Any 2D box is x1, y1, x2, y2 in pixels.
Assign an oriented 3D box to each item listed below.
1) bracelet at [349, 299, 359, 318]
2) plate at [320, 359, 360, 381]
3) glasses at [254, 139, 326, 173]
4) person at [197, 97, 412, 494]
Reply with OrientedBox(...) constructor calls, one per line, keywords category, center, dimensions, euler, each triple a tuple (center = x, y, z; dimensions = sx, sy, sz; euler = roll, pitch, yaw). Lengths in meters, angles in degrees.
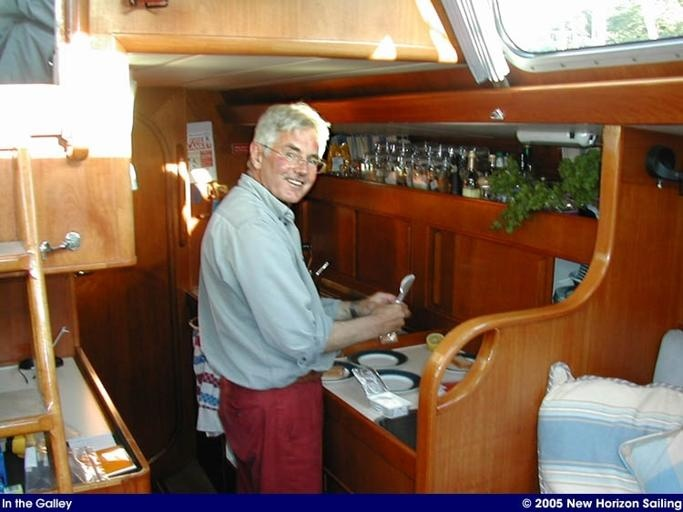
OrientedBox(category="bracelet", center=(0.059, 0.251, 2.361), dimensions=(0.041, 0.068, 0.016), euler=(-2, -3, 2))
OrientedBox(category="plate", center=(-0.010, 0.477, 2.086), dimensions=(0.124, 0.014, 0.129), euler=(5, 10, 43))
OrientedBox(category="glasses", center=(-0.196, -0.404, 2.006), dimensions=(0.141, 0.044, 0.144), euler=(35, 13, 37))
OrientedBox(category="person", center=(-0.179, 0.201, 1.999), dimensions=(0.646, 1.643, 0.544), euler=(-8, 9, -31))
